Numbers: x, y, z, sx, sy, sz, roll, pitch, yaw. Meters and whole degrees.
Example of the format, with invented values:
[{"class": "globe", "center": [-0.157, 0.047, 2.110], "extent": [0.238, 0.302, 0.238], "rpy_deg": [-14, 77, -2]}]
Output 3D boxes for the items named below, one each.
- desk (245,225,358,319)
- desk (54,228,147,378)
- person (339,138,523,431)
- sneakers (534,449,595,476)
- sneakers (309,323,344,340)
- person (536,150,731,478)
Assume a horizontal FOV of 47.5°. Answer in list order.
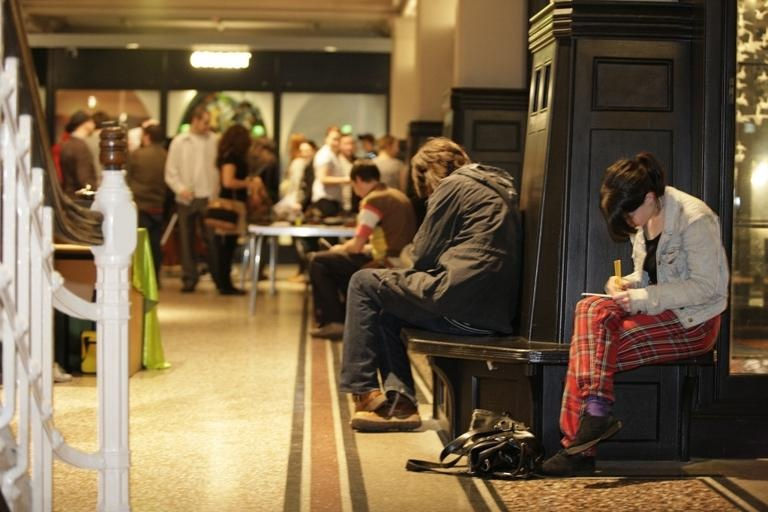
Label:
[{"class": "desk", "center": [-0.860, -0.033, 7.989], "extent": [0.939, 0.639, 1.390], "rpy_deg": [-1, 3, -3]}, {"class": "desk", "center": [-1.878, 0.359, 5.714], "extent": [0.555, 0.848, 0.404], "rpy_deg": [-1, 8, -13]}, {"class": "person", "center": [0.292, 0.149, 4.899], "extent": [1.056, 1.574, 0.712], "rpy_deg": [-1, -14, 29]}, {"class": "sneakers", "center": [0.872, 0.981, 4.203], "extent": [0.320, 0.126, 0.111], "rpy_deg": [0, -2, -6]}, {"class": "sneakers", "center": [-0.506, 0.612, 7.155], "extent": [0.376, 0.143, 0.126], "rpy_deg": [3, -1, 30]}, {"class": "person", "center": [1.181, 0.270, 4.211], "extent": [0.888, 1.512, 0.350], "rpy_deg": [-1, 8, -16]}]
